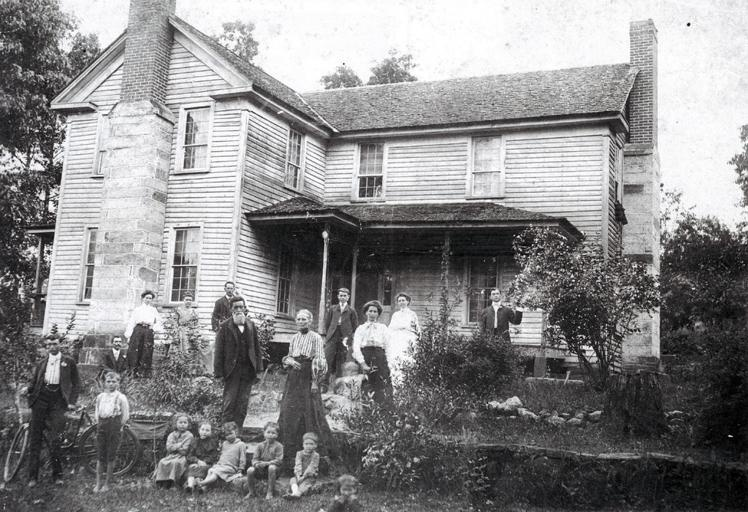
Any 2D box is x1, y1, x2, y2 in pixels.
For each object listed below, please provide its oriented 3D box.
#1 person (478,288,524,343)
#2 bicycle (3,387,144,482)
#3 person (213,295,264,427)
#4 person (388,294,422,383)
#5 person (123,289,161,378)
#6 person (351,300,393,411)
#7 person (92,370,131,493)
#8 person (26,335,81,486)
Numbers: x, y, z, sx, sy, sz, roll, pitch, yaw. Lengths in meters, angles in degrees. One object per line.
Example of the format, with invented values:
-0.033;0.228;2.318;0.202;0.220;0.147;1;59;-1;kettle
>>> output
2.478;1.130;13.060;0.792;1.146;2.054;0;-11;13;person
-4.814;2.980;11.100;2.234;1.424;1.145;2;-10;4;bicycle
-2.210;1.725;10.777;0.582;2.030;0.735;-2;-11;25;person
0.542;1.446;11.664;0.571;1.592;1.008;2;-10;2;person
-4.668;1.564;13.544;0.645;1.718;0.672;5;-10;-16;person
0.014;1.562;10.845;0.667;1.621;0.839;2;-10;0;person
-4.075;2.654;10.258;0.481;1.729;0.521;2;-10;0;person
-5.026;2.401;10.434;0.608;2.215;0.550;-5;-12;35;person
